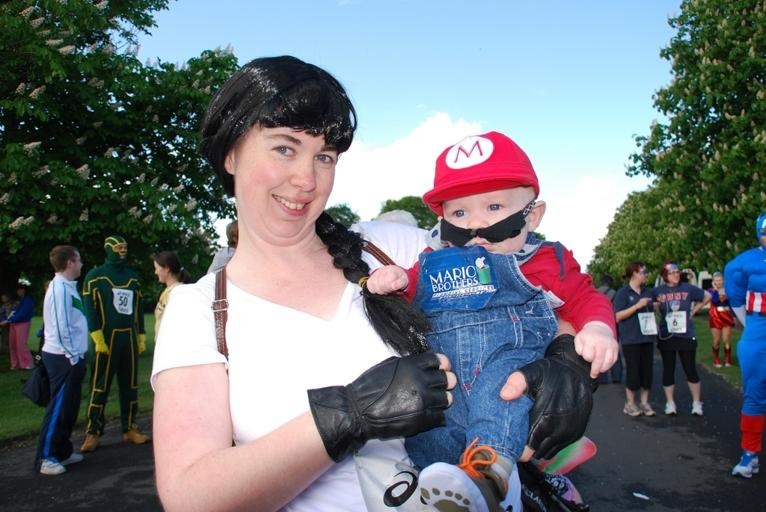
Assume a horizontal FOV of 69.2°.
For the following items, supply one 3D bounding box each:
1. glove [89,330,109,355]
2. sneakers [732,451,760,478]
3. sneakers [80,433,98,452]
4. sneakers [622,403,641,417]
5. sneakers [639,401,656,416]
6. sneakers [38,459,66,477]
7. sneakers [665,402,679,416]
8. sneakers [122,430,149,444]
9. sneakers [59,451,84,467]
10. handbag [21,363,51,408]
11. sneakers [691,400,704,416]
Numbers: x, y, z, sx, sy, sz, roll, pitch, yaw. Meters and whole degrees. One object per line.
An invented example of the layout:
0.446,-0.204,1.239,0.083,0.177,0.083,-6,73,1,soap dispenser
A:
-4.978,1.509,9.694,0.261,0.426,0.171,2,-14,-35,glove
5.378,3.034,8.144,0.238,0.296,0.598,-8,-6,38,sneakers
-5.072,3.183,9.457,0.314,0.295,0.267,-2,2,-12,sneakers
4.904,3.031,10.862,0.168,0.137,0.312,-3,-5,-23,sneakers
5.211,3.008,10.842,0.159,0.147,0.358,0,-12,0,sneakers
-5.182,3.304,8.638,0.379,0.193,0.205,-4,-9,25,sneakers
5.626,2.959,10.719,0.160,0.161,0.365,-5,-18,14,sneakers
-4.404,3.215,9.861,0.412,0.176,0.220,-5,-1,25,sneakers
-5.003,3.264,8.973,0.218,0.144,0.402,-1,2,12,sneakers
-5.645,2.134,8.967,0.372,0.779,0.487,-3,3,-33,handbag
6.102,2.959,10.640,0.170,0.208,0.488,-4,-29,19,sneakers
